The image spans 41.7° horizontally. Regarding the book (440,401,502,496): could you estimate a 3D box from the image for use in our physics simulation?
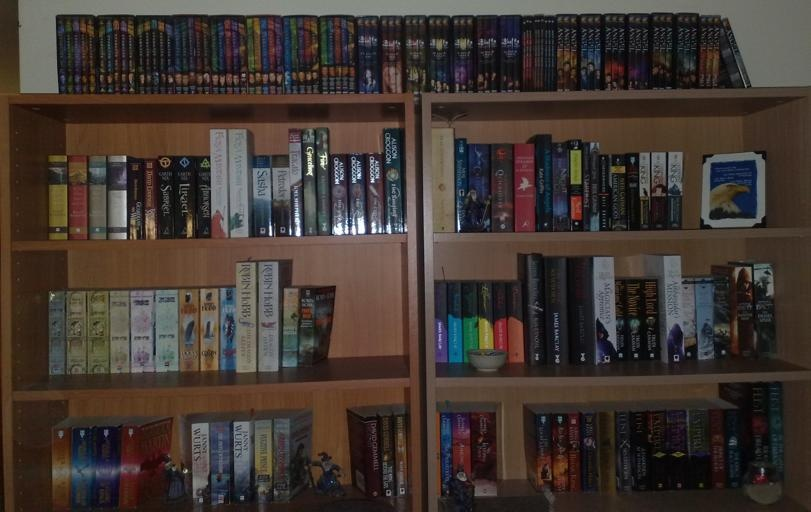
[{"bbox_3d":[0.242,0.779,4.518,0.305,0.395,0.401,0,-1,0],"label":"book"}]

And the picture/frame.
[{"bbox_3d":[1.337,-0.263,4.335,0.331,0.406,0.039,-1,-11,12],"label":"picture/frame"}]
